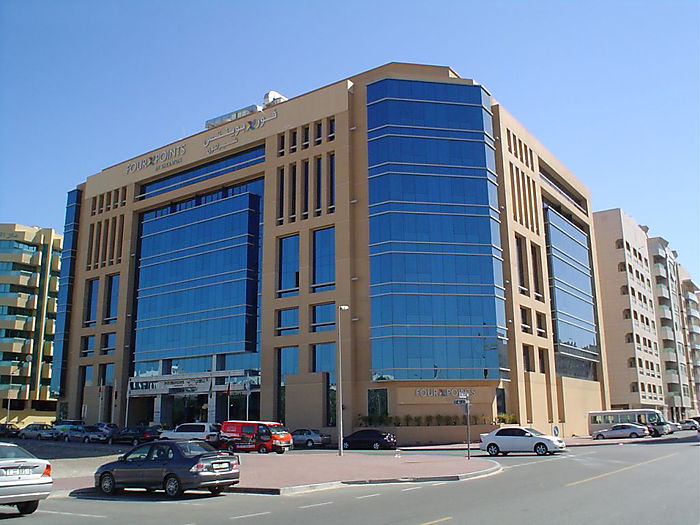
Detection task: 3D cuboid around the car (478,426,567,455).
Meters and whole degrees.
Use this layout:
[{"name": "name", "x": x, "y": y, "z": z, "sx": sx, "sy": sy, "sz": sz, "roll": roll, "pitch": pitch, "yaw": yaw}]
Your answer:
[{"name": "car", "x": 10.715, "y": 11.401, "z": 34.558, "sx": 4.521, "sy": 1.483, "sz": 2.124, "roll": -6, "pitch": -11, "yaw": 14}]

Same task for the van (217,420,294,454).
[{"name": "van", "x": -6.760, "y": 12.033, "z": 37.404, "sx": 4.811, "sy": 2.262, "sz": 4.380, "roll": -3, "pitch": -12, "yaw": 17}]

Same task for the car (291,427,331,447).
[{"name": "car", "x": -3.368, "y": 15.246, "z": 47.985, "sx": 2.982, "sy": 1.536, "sz": 1.867, "roll": 0, "pitch": -18, "yaw": -4}]
